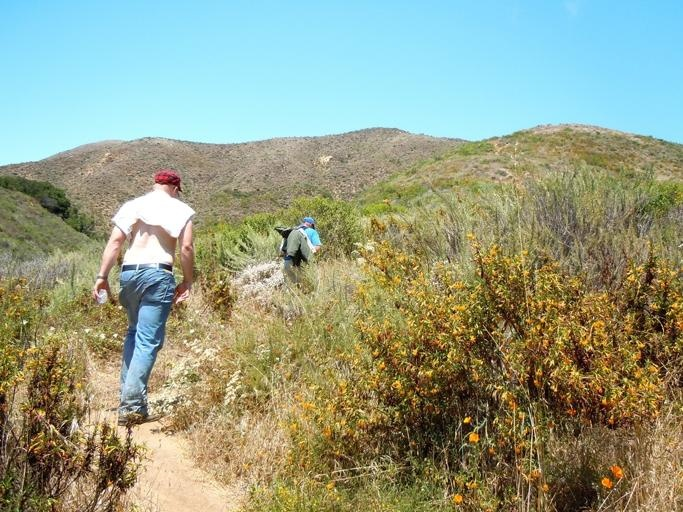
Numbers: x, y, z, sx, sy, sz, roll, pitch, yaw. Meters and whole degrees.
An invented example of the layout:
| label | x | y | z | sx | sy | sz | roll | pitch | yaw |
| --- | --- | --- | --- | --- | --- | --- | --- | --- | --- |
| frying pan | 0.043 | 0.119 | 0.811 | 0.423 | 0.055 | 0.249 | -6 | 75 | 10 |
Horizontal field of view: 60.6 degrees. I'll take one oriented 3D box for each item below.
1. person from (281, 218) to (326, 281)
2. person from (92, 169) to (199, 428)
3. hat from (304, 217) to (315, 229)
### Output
| label | x | y | z | sx | sy | sz | roll | pitch | yaw |
| --- | --- | --- | --- | --- | --- | --- | --- | --- | --- |
| person | -0.677 | -0.129 | 9.595 | 0.592 | 1.246 | 0.417 | 16 | 36 | 15 |
| person | -1.985 | 0.365 | 5.890 | 0.909 | 1.911 | 0.686 | 5 | -3 | -11 |
| hat | -0.569 | -0.568 | 9.971 | 0.155 | 0.223 | 0.218 | 1 | 33 | 3 |
